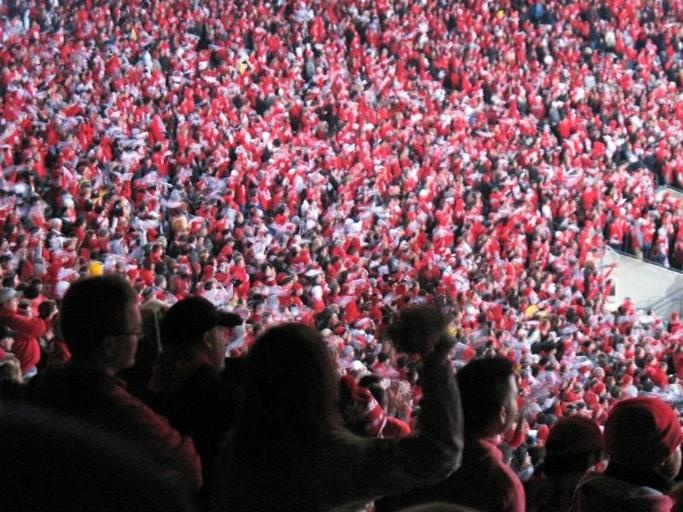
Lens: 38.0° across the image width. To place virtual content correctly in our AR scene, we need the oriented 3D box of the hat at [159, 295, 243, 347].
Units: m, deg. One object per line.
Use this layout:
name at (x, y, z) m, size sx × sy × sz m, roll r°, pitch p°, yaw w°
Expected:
hat at (-0.815, 0.393, 5.654) m, size 0.384 × 0.191 × 0.271 m, roll -22°, pitch 14°, yaw -17°
